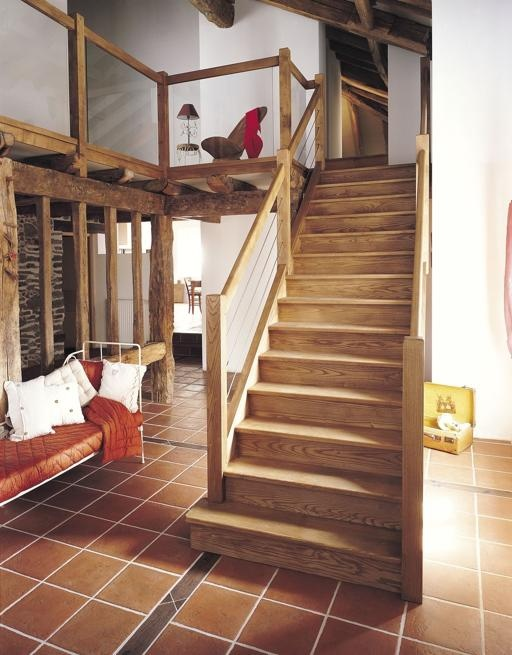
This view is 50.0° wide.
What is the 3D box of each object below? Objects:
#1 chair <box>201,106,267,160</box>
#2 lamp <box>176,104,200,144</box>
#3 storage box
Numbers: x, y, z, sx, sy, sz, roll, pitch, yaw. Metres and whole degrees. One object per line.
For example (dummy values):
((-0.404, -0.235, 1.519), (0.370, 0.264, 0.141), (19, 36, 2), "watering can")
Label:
((-0.186, -1.961, 5.478), (0.791, 0.520, 0.382), (8, 21, 26), "chair")
((-0.683, -2.043, 5.546), (0.219, 0.383, 0.203), (6, 23, 7), "lamp")
((1.476, 0.713, 4.409), (0.382, 0.444, 0.472), (-11, 11, -43), "storage box")
